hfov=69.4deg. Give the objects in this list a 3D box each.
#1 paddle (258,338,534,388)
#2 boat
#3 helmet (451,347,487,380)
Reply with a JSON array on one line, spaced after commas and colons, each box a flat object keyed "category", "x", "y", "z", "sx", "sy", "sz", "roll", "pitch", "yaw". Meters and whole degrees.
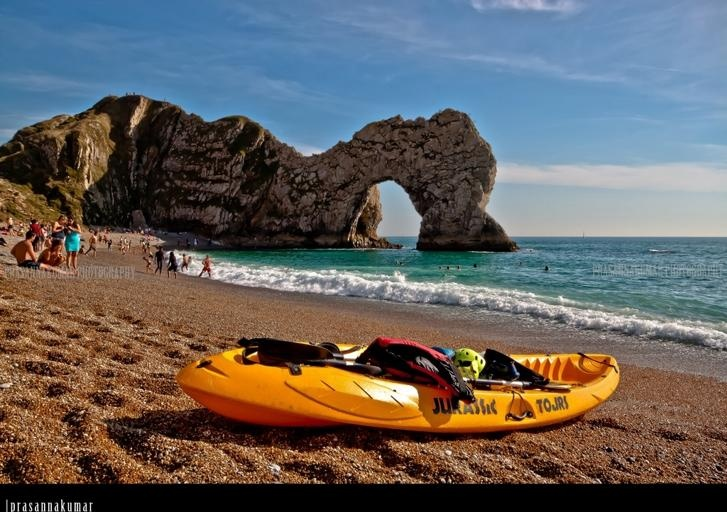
[{"category": "paddle", "x": 0.370, "y": 1.525, "z": 7.403, "sx": 2.136, "sy": 0.315, "sz": 0.771, "roll": 9, "pitch": -4, "yaw": -13}, {"category": "boat", "x": 0.607, "y": 1.744, "z": 7.217, "sx": 6.031, "sy": 1.198, "sz": 0.937, "roll": 4, "pitch": 1, "yaw": -16}, {"category": "helmet", "x": 1.588, "y": 1.579, "z": 7.687, "sx": 0.524, "sy": 0.392, "sz": 0.371, "roll": 4, "pitch": 20, "yaw": -32}]
